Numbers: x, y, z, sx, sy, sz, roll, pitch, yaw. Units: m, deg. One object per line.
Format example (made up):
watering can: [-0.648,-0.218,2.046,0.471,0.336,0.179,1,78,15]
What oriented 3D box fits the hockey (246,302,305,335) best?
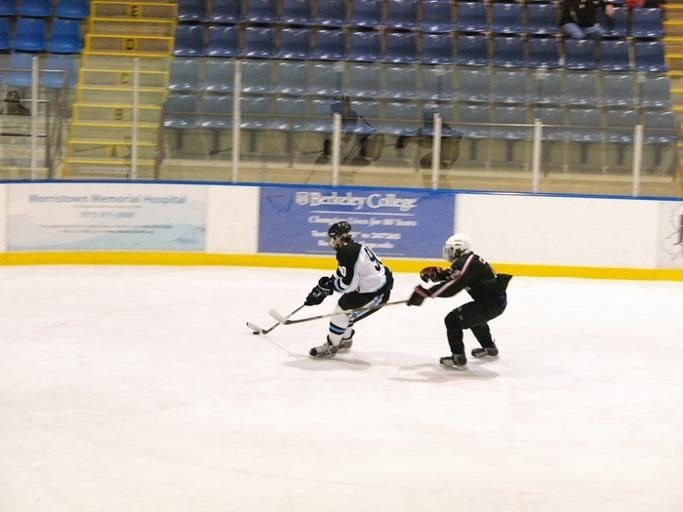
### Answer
hockey: [-0.711,0.718,10.684,0.531,0.104,0.444,-23,11,-10]

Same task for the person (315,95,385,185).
person: [0.135,-1.601,13.496,0.914,1.148,0.442,3,-4,-4]

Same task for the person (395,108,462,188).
person: [1.221,-1.489,13.484,0.902,1.015,0.431,3,-4,3]

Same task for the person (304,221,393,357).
person: [0.092,0.357,10.137,0.723,1.397,0.519,6,-4,-36]

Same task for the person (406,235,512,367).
person: [1.192,0.465,9.814,1.035,1.344,0.380,4,-4,-4]

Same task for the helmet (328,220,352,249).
helmet: [-0.005,-0.210,10.036,0.231,0.286,0.211,3,-3,1]

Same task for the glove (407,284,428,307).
glove: [0.763,0.390,9.671,0.212,0.199,0.149,4,-4,-16]

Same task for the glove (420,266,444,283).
glove: [0.933,0.194,9.904,0.273,0.108,0.160,4,-2,-14]

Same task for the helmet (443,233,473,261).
helmet: [1.275,-0.091,9.974,0.406,0.232,0.263,7,18,13]

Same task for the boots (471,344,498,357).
boots: [1.502,1.014,10.220,0.338,0.086,0.112,1,2,22]
